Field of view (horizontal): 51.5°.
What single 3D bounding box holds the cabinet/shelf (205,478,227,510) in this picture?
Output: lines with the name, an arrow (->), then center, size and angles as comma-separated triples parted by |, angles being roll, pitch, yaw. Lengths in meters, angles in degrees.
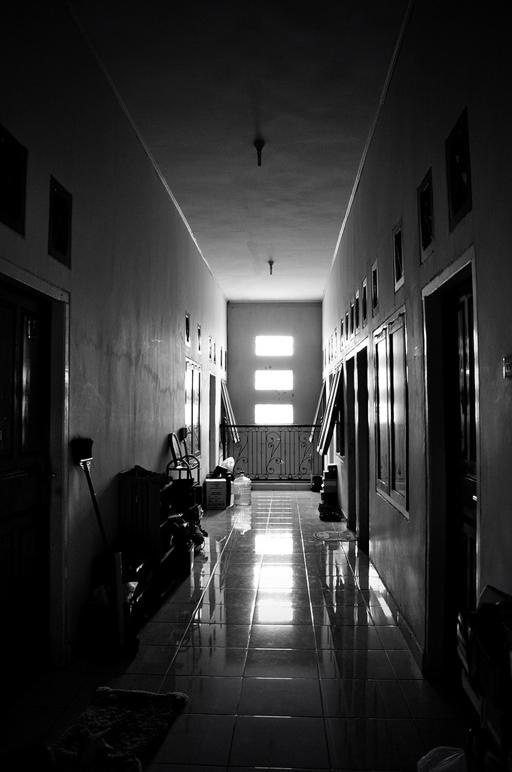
cabinet/shelf -> -0.607, 1.681, 8.268 | 0.238, 0.678, 0.356 | 1, 1, 2

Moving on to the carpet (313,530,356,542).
carpet -> 0.895, 1.742, 6.088 | 0.458, 0.007, 0.601 | 1, -5, -3

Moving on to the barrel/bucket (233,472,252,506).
barrel/bucket -> -0.252, 1.782, 8.940 | 0.225, 0.710, 0.323 | 1, -14, 0

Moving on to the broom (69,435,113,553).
broom -> -0.988, 0.671, 3.243 | 0.166, 0.721, 0.563 | 0, -3, -5
